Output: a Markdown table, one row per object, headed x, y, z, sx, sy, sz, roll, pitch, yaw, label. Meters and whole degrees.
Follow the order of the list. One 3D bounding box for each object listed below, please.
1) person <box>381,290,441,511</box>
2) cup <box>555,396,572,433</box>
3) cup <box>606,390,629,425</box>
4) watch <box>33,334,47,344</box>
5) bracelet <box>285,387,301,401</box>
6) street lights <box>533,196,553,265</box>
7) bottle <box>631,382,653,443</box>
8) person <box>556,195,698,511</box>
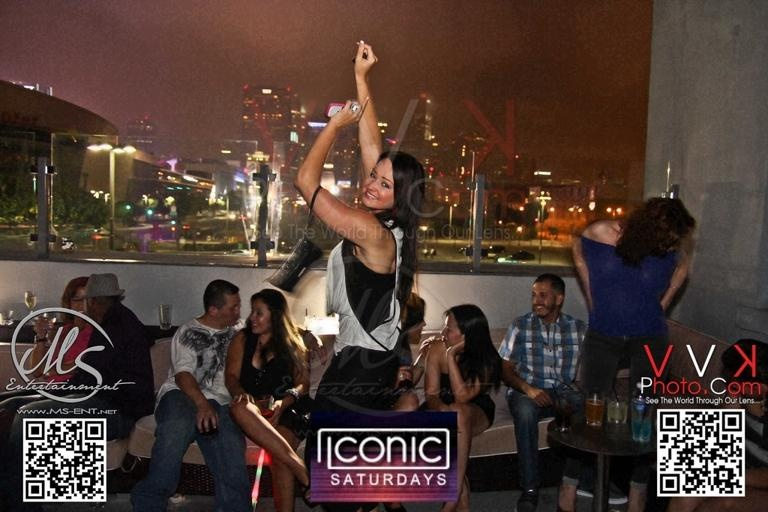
| x | y | z | sx | sy | sz | roll | pitch | yaw | label |
| --- | --- | --- | --- | --- | --- | --- | --- | --- | --- |
| 0.122 | 0.702 | 3.135 | 0.341 | 1.082 | 0.394 | 3 | 9 | 0 | person |
| 1.029 | 0.904 | 3.473 | 0.088 | 0.153 | 0.086 | 3 | 2 | 0 | cup |
| 1.353 | 0.891 | 3.566 | 0.142 | 0.175 | 0.149 | 1 | 3 | 0 | cup |
| -2.058 | 0.497 | 3.619 | 0.056 | 0.022 | 0.043 | 4 | 3 | 33 | watch |
| -0.533 | 0.810 | 3.577 | 0.058 | 0.055 | 0.060 | -36 | 3 | 19 | bracelet |
| 1.231 | -0.225 | 4.708 | 0.103 | 0.436 | 0.034 | 3 | 2 | 10 | street lights |
| 1.470 | 0.882 | 3.443 | 0.108 | 0.304 | 0.237 | 4 | 2 | 26 | bottle |
| 1.447 | 0.565 | 3.628 | 0.798 | 1.756 | 0.679 | 2 | 25 | 2 | person |
